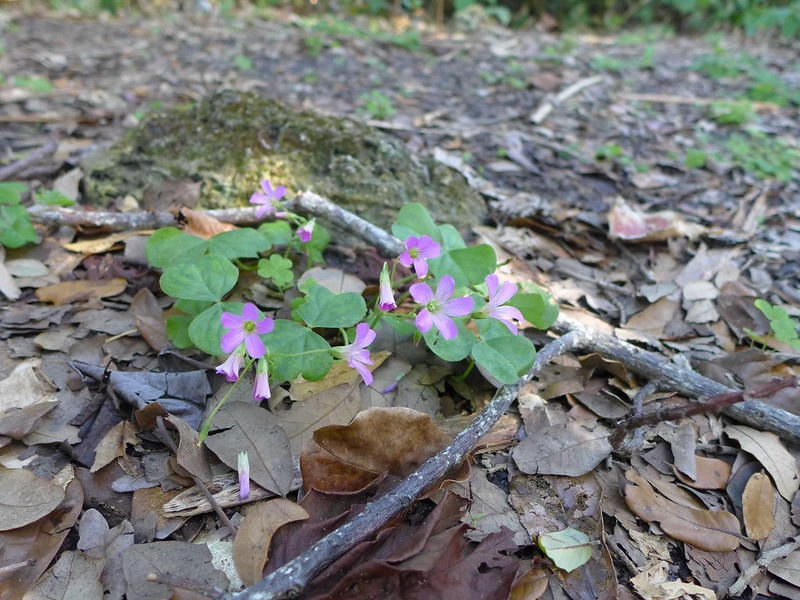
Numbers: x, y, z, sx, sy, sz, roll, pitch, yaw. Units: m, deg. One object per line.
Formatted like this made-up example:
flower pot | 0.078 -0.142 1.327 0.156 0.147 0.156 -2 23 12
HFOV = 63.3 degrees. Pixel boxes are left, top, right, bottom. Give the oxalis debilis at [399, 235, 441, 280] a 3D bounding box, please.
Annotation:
oxalis debilis | 0.088 -0.218 3.178 0.166 0.181 0.125 17 42 -2

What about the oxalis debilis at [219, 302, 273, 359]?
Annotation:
oxalis debilis | -0.690 0.117 2.914 0.213 0.272 0.254 6 43 -15
